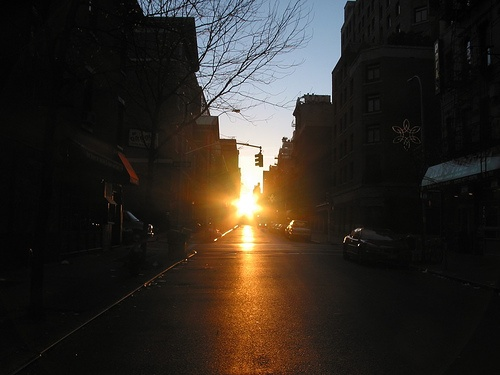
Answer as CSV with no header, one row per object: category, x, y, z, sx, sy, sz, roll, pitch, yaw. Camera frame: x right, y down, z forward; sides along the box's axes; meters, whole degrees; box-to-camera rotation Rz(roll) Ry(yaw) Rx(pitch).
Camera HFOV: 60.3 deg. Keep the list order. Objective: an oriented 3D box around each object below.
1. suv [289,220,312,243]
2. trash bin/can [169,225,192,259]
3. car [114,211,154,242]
suv,4.468,3.933,38.936,2.137,1.951,1.584,-3,-7,26
trash bin/can,-3.504,2.791,21.313,1.234,1.353,0.798,5,-7,-38
car,-7.825,2.654,28.694,1.293,2.176,3.397,2,-7,-16
